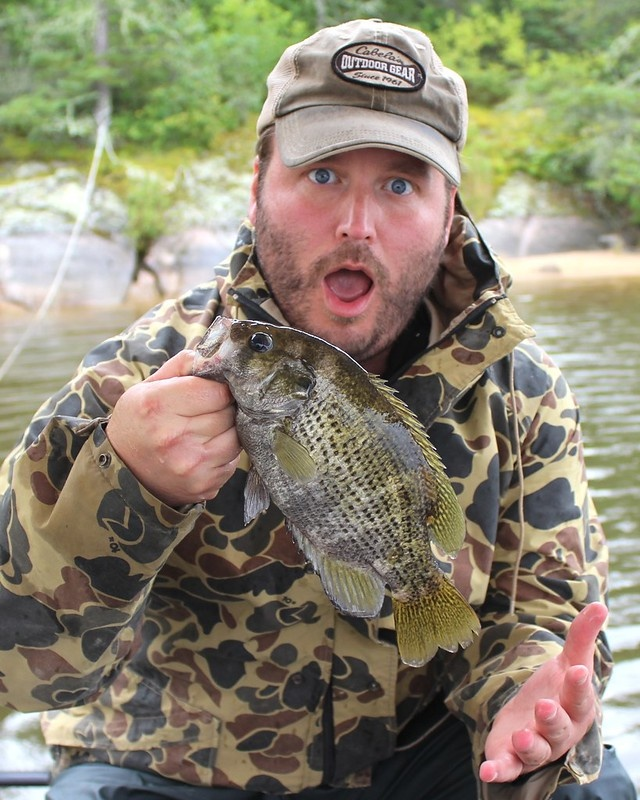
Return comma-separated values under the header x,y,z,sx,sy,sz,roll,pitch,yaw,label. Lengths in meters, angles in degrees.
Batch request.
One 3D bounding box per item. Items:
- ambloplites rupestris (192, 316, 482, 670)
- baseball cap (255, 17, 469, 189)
x,y,z,sx,sy,sz,roll,pitch,yaw,label
0.035,0.199,1.891,0.594,0.711,0.357,0,29,-6,ambloplites rupestris
0.113,-0.800,2.328,0.562,0.315,0.619,3,25,-11,baseball cap
